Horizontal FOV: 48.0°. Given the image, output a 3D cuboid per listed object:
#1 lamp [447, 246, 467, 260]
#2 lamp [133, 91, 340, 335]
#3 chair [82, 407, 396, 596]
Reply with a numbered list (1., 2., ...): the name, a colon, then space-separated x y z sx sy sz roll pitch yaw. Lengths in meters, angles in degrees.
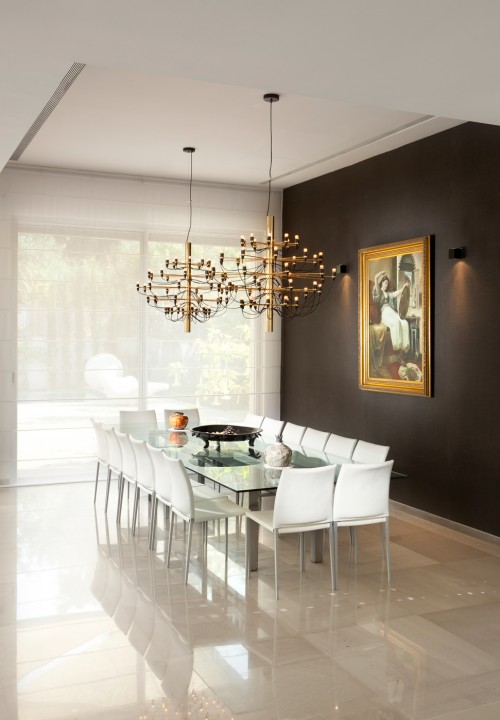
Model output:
1. lamp: 1.728 -0.885 4.660 0.103 0.108 0.110 0 2 -30
2. lamp: -0.189 -1.599 6.084 2.032 2.373 1.032 0 -2 5
3. chair: -0.046 1.019 4.108 1.473 0.872 2.186 2 -4 -44
